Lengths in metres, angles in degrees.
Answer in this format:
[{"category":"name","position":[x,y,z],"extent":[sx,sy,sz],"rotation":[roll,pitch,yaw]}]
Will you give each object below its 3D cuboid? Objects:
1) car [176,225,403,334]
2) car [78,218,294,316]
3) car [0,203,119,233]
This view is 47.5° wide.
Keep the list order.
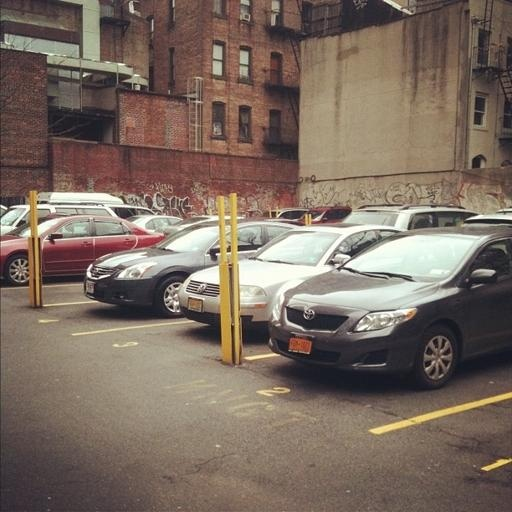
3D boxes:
[{"category":"car","position":[0.655,0.205,8.595],"extent":[3.107,1.009,1.373],"rotation":[-3,2,-34]},{"category":"car","position":[-1.152,-0.016,10.576],"extent":[4.009,1.302,1.653],"rotation":[-3,3,-29]},{"category":"car","position":[-5.683,-1.234,16.669],"extent":[3.070,1.120,1.385],"rotation":[0,4,-18]}]
